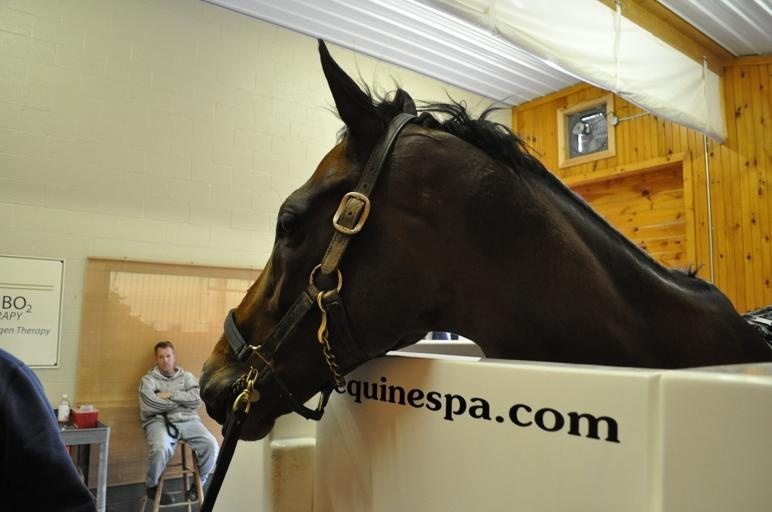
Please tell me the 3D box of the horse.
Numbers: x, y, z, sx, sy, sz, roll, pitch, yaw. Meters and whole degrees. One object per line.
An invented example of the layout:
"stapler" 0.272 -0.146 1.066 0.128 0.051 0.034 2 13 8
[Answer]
"horse" -0.015 0.058 2.480 2.338 1.617 0.895 -3 -4 15
